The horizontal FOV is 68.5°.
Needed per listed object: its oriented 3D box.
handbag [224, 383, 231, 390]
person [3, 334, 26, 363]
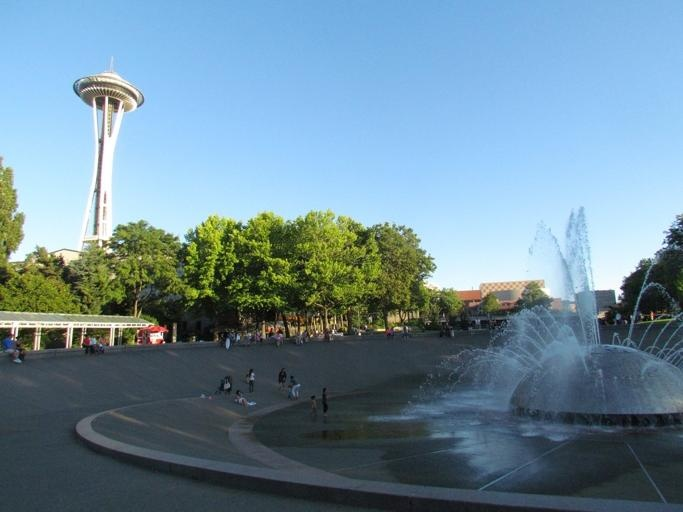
[{"bbox_3d":[-5.996,6.802,26.294,0.293,0.352,0.305,-1,-4,20],"label":"handbag"},{"bbox_3d":[-18.285,5.220,27.916,0.857,1.468,2.737,2,0,-37],"label":"person"}]
